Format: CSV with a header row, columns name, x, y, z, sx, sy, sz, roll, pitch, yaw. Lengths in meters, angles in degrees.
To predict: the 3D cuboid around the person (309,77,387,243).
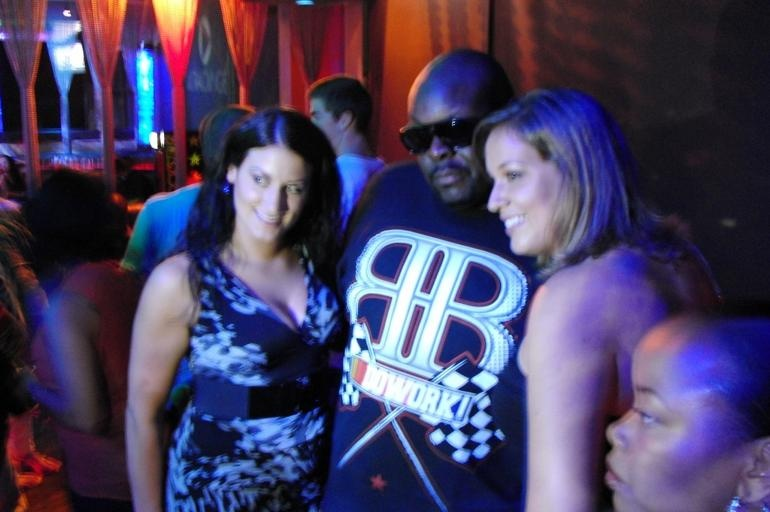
name,x,y,z,sx,sy,sz,roll,pitch,yaw
person,-0.158,-0.509,3.353,0.349,0.600,0.719,2,10,9
